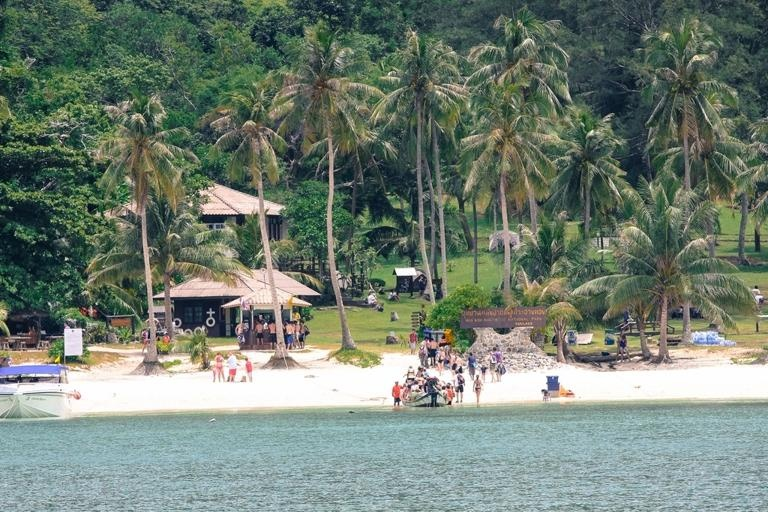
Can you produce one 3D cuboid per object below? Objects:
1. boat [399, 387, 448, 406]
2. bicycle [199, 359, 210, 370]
[{"bbox_3d":[3.795,13.163,188.041,2.898,1.195,1.866,-5,-4,11],"label":"boat"},{"bbox_3d":[-17.075,10.386,194.577,0.886,1.470,0.670,-3,17,-11],"label":"bicycle"}]
